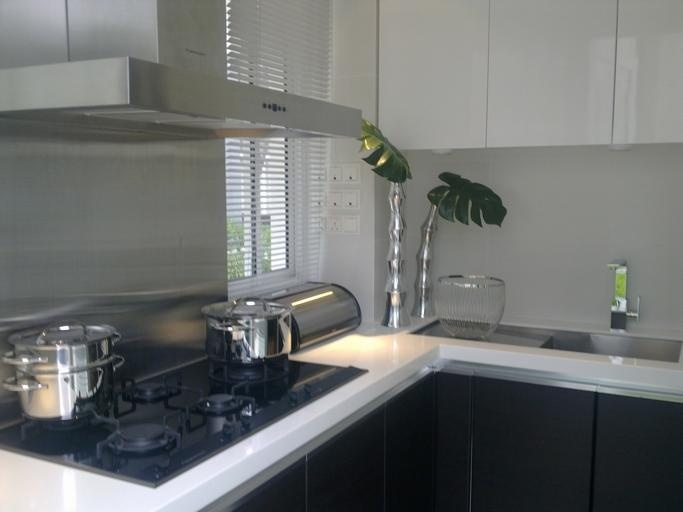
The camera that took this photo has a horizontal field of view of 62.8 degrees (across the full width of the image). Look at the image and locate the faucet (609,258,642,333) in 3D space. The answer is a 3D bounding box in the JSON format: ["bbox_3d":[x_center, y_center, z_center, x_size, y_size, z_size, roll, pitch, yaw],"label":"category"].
[{"bbox_3d":[1.314,0.180,2.611,0.132,0.313,0.169,3,8,29],"label":"faucet"}]

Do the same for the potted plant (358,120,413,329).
[{"bbox_3d":[0.200,-0.153,2.588,0.205,0.950,0.414,-1,7,2],"label":"potted plant"}]

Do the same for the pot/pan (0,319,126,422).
[{"bbox_3d":[-0.788,0.295,1.602,0.223,0.240,0.343,1,1,24],"label":"pot/pan"}]

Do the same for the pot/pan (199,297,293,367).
[{"bbox_3d":[-0.313,0.252,1.927,0.226,0.148,0.228,-1,4,-35],"label":"pot/pan"}]

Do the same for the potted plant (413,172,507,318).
[{"bbox_3d":[0.574,-0.038,2.730,0.430,0.670,0.425,3,-10,8],"label":"potted plant"}]
